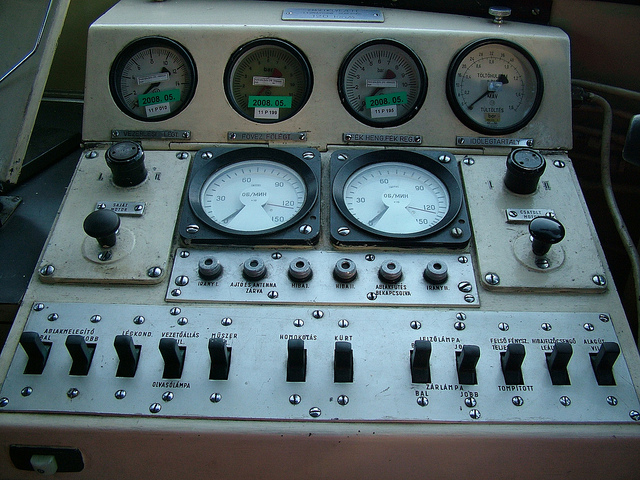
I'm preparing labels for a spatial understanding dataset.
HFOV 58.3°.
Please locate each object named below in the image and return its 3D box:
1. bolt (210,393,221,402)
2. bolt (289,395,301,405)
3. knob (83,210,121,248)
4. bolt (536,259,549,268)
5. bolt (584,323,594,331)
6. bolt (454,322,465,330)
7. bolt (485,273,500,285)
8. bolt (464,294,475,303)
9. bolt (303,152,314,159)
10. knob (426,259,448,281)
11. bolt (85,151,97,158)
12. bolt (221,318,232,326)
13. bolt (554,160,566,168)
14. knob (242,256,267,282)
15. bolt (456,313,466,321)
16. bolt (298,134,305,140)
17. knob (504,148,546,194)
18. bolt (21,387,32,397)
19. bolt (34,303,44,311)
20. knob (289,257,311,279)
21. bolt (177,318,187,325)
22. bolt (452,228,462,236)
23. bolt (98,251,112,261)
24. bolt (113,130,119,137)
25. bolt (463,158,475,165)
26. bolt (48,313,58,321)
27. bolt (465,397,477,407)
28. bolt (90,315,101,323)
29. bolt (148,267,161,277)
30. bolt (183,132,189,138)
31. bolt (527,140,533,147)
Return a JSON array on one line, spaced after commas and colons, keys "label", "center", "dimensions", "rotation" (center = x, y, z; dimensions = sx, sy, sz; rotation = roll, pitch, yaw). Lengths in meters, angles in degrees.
[{"label": "bolt", "center": [-0.318, 0.482, 1.754], "dimensions": [0.022, 0.023, 0.005], "rotation": [-6, -14, -4]}, {"label": "bolt", "center": [-0.074, 0.487, 1.748], "dimensions": [0.024, 0.025, 0.006], "rotation": [-2, -23, -2]}, {"label": "knob", "center": [-0.754, -0.039, 1.996], "dimensions": [0.116, 0.125, 0.142], "rotation": [6, -8, -19]}, {"label": "bolt", "center": [0.774, 0.083, 1.995], "dimensions": [0.026, 0.027, 0.006], "rotation": [1, -32, 9]}, {"label": "bolt", "center": [0.883, 0.286, 1.888], "dimensions": [0.032, 0.025, 0.013], "rotation": [5, -8, -8]}, {"label": "bolt", "center": [0.456, 0.282, 1.878], "dimensions": [0.032, 0.023, 0.014], "rotation": [2, -8, 9]}, {"label": "bolt", "center": [0.591, 0.134, 1.974], "dimensions": [0.048, 0.041, 0.023], "rotation": [2, -8, 11]}, {"label": "bolt", "center": [0.503, 0.198, 1.933], "dimensions": [0.034, 0.026, 0.015], "rotation": [3, -7, 4]}, {"label": "bolt", "center": [-0.044, -0.329, 2.237], "dimensions": [0.042, 0.032, 0.017], "rotation": [4, -7, -1]}, {"label": "knob", "center": [0.402, 0.104, 1.968], "dimensions": [0.076, 0.074, 0.048], "rotation": [3, -7, 4]}, {"label": "bolt", "center": [-0.904, -0.339, 2.275], "dimensions": [0.027, 0.029, 0.008], "rotation": [2, -38, -8]}, {"label": "bolt", "center": [-0.304, 0.268, 1.877], "dimensions": [0.035, 0.025, 0.014], "rotation": [4, -8, -5]}, {"label": "bolt", "center": [0.944, -0.300, 2.263], "dimensions": [0.045, 0.037, 0.024], "rotation": [3, -8, 7]}, {"label": "knob", "center": [-0.220, 0.101, 1.962], "dimensions": [0.082, 0.085, 0.046], "rotation": [5, -8, -10]}, {"label": "bolt", "center": [0.467, 0.254, 1.897], "dimensions": [0.018, 0.019, 0.004], "rotation": [-1, -35, 8]}, {"label": "bolt", "center": [-0.072, -0.413, 2.303], "dimensions": [0.020, 0.022, 0.004], "rotation": [5, -8, -9]}, {"label": "knob", "center": [0.759, -0.263, 2.135], "dimensions": [0.135, 0.174, 0.101], "rotation": [2, -8, 13]}, {"label": "bolt", "center": [-0.901, 0.468, 1.770], "dimensions": [0.032, 0.024, 0.010], "rotation": [3, -8, 8]}, {"label": "bolt", "center": [-0.933, 0.224, 1.915], "dimensions": [0.031, 0.026, 0.013], "rotation": [3, -8, 8]}, {"label": "knob", "center": [-0.066, 0.095, 1.946], "dimensions": [0.061, 0.064, 0.040], "rotation": [-1, -30, -3]}, {"label": "bolt", "center": [-0.449, 0.267, 1.883], "dimensions": [0.030, 0.021, 0.013], "rotation": [2, -8, 12]}, {"label": "bolt", "center": [0.491, -0.029, 2.058], "dimensions": [0.024, 0.025, 0.006], "rotation": [5, -31, 5]}, {"label": "bolt", "center": [-0.744, 0.056, 1.997], "dimensions": [0.047, 0.035, 0.019], "rotation": [2, -8, 10]}, {"label": "bolt", "center": [-0.821, -0.431, 2.321], "dimensions": [0.023, 0.029, 0.002], "rotation": [4, -7, -2]}, {"label": "bolt", "center": [0.586, -0.310, 2.257], "dimensions": [0.045, 0.030, 0.017], "rotation": [5, -8, -10]}, {"label": "bolt", "center": [-0.876, 0.254, 1.893], "dimensions": [0.030, 0.025, 0.012], "rotation": [2, -8, 9]}, {"label": "bolt", "center": [0.465, 0.497, 1.753], "dimensions": [0.023, 0.023, 0.006], "rotation": [-2, -35, 7]}, {"label": "bolt", "center": [-0.736, 0.259, 1.888], "dimensions": [0.032, 0.025, 0.011], "rotation": [2, -8, 13]}, {"label": "bolt", "center": [-0.568, 0.111, 1.978], "dimensions": [0.043, 0.034, 0.018], "rotation": [5, -8, -9]}, {"label": "bolt", "center": [-0.536, -0.422, 2.306], "dimensions": [0.021, 0.022, 0.005], "rotation": [-1, -5, -9]}, {"label": "bolt", "center": [0.850, -0.391, 2.324], "dimensions": [0.021, 0.023, 0.007], "rotation": [3, -11, 2]}]
